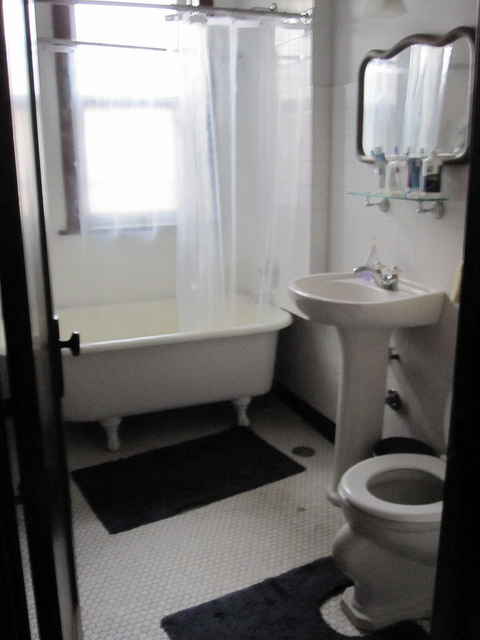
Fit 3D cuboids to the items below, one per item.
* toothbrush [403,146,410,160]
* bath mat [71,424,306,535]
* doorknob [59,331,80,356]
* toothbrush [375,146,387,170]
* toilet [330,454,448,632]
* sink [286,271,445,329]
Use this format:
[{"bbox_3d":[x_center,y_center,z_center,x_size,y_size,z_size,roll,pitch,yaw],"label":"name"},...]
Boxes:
[{"bbox_3d":[0.740,-0.751,2.266,0.017,0.039,0.047,1,15,6],"label":"toothbrush"},{"bbox_3d":[-0.272,0.785,2.723,1.100,0.081,0.851,-6,8,-29],"label":"bath mat"},{"bbox_3d":[-0.364,0.055,1.110,0.045,0.052,0.047,6,11,32],"label":"doorknob"},{"bbox_3d":[0.624,-0.723,2.280,0.049,0.092,0.037,3,14,15],"label":"toothbrush"},{"bbox_3d":[0.502,0.751,1.790,0.353,0.504,0.444,6,15,24],"label":"toilet"},{"bbox_3d":[0.516,-0.197,2.282,0.486,0.304,0.570,2,16,-10],"label":"sink"}]
